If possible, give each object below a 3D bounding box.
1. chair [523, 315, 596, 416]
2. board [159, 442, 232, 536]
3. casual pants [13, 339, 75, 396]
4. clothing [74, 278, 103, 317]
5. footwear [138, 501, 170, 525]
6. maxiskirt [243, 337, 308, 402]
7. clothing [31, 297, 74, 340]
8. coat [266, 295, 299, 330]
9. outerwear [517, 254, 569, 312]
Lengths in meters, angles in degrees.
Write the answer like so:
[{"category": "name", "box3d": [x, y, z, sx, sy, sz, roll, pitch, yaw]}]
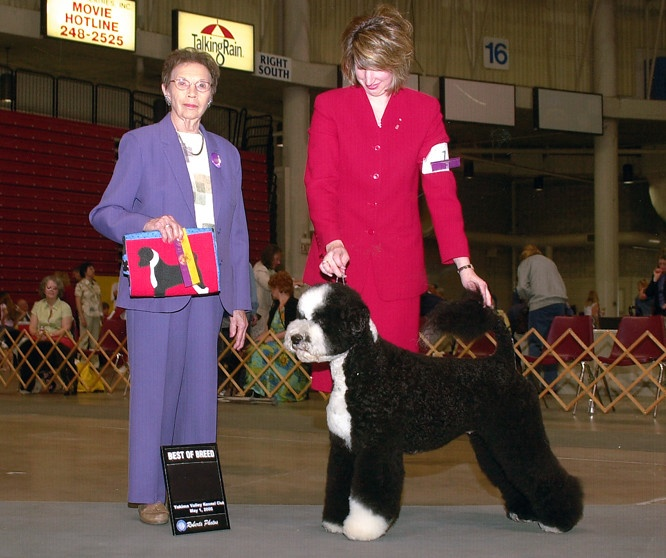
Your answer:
[{"category": "chair", "box3d": [2.185, 0.761, 10.188, 0.512, 0.937, 0.611, 3, -6, 21]}, {"category": "board", "box3d": [-0.732, 1.099, 5.542, 0.416, 0.623, 0.037, 1, -18, -30]}, {"category": "casual pants", "box3d": [-3.153, 0.953, 11.720, 0.537, 0.504, 0.027, 0, -6, 9]}, {"category": "clothing", "box3d": [-3.057, 0.236, 13.311, 0.239, 0.534, 0.445, -2, 3, 26]}, {"category": "footwear", "box3d": [-0.938, 1.228, 5.596, 0.091, 0.085, 0.187, 3, -14, -16]}, {"category": "maxiskirt", "box3d": [-0.658, 0.857, 11.055, 0.851, 0.069, 1.062, 4, 40, -5]}, {"category": "clothing", "box3d": [-3.077, 0.421, 11.828, 0.539, 0.559, 0.314, 3, -7, -9]}, {"category": "coat", "box3d": [-0.470, 0.307, 9.901, 0.208, 0.383, 0.365, 11, -11, -39]}, {"category": "outerwear", "box3d": [2.168, 0.053, 11.080, 0.527, 0.671, 0.365, 6, -23, -16]}]
